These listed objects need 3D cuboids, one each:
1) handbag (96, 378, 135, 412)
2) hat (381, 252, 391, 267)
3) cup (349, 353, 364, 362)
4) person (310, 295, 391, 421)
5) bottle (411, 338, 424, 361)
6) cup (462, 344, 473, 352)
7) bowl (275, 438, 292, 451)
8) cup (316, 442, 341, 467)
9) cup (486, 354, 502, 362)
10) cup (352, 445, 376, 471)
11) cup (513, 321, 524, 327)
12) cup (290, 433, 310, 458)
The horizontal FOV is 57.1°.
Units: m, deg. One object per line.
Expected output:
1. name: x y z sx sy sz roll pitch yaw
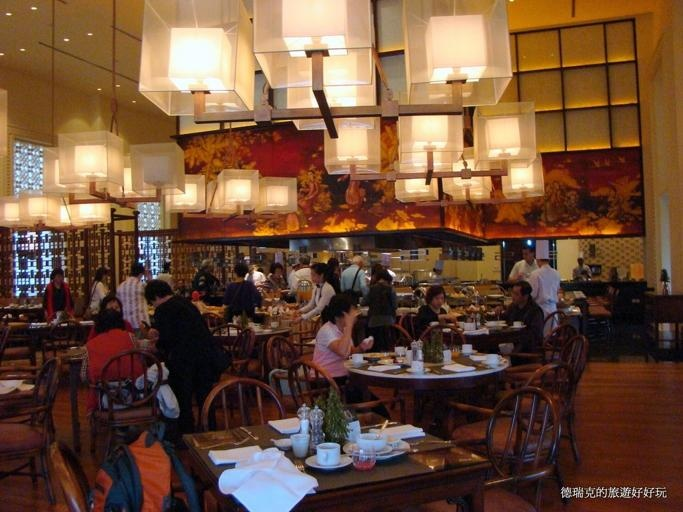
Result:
1. handbag: -2.013 1.259 5.633 0.261 0.138 0.334 1 -4 14
2. hat: 0.861 0.089 11.680 0.211 0.228 0.215 4 7 27
3. cup: 0.128 0.907 5.568 0.104 0.076 0.082 -3 -4 20
4. person: 0.080 1.053 5.946 0.763 1.336 0.637 2 6 26
5. bottle: 0.640 0.836 5.476 0.138 0.223 0.142 -1 -5 0
6. cup: 1.193 0.887 5.989 0.084 0.082 0.086 -1 3 0
7. bowl: -0.346 1.123 3.730 0.095 0.054 0.106 -3 1 -9
8. cup: -0.077 1.100 3.470 0.091 0.077 0.126 0 2 10
9. cup: 1.311 0.903 5.451 0.083 0.073 0.102 -4 -14 19
10. cup: 0.122 1.124 3.482 0.106 0.094 0.110 -2 -3 0
11. cup: 2.094 0.821 7.449 0.068 0.050 0.075 0 -10 0
12. cup: -0.238 1.098 3.637 0.108 0.097 0.107 -2 -1 0
